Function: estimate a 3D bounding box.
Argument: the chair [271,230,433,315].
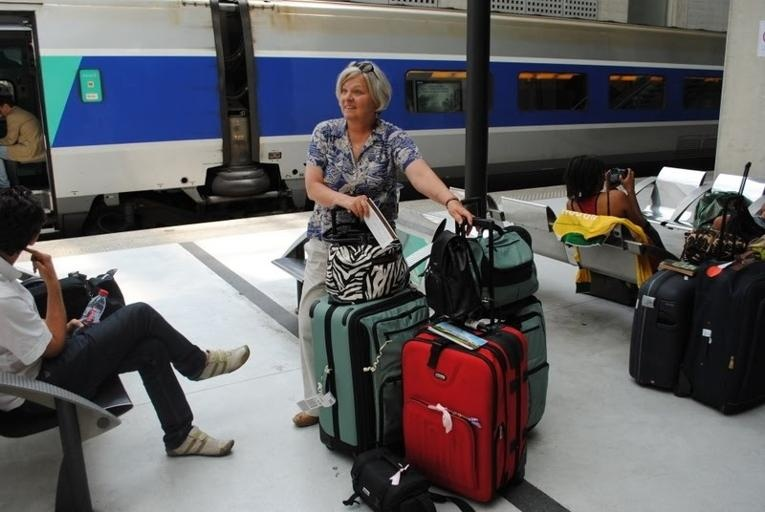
[{"bbox_3d":[-0.227,0.016,4.243,1.068,0.763,0.684,-7,12,-30],"label":"chair"}]

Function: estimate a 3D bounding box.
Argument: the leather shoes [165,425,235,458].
[{"bbox_3d":[-1.050,1.113,3.094,0.449,0.191,0.151,-2,3,-4],"label":"leather shoes"}]

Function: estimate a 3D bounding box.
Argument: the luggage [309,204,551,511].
[{"bbox_3d":[0.269,0.520,2.800,1.351,1.369,0.767,2,19,13],"label":"luggage"}]

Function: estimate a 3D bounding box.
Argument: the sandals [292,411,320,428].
[{"bbox_3d":[-0.496,1.043,3.351,0.168,0.160,0.078,4,10,-4],"label":"sandals"}]

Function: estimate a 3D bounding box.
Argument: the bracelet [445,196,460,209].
[{"bbox_3d":[0.366,-0.285,2.756,0.071,0.040,0.093,-1,18,2],"label":"bracelet"}]

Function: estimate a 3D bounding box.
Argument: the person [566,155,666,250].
[{"bbox_3d":[2.032,-0.383,4.632,0.745,1.083,0.755,-12,12,23],"label":"person"}]

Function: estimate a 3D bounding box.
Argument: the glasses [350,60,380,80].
[{"bbox_3d":[-0.072,-1.049,2.926,0.117,0.040,0.121,13,-22,16],"label":"glasses"}]
